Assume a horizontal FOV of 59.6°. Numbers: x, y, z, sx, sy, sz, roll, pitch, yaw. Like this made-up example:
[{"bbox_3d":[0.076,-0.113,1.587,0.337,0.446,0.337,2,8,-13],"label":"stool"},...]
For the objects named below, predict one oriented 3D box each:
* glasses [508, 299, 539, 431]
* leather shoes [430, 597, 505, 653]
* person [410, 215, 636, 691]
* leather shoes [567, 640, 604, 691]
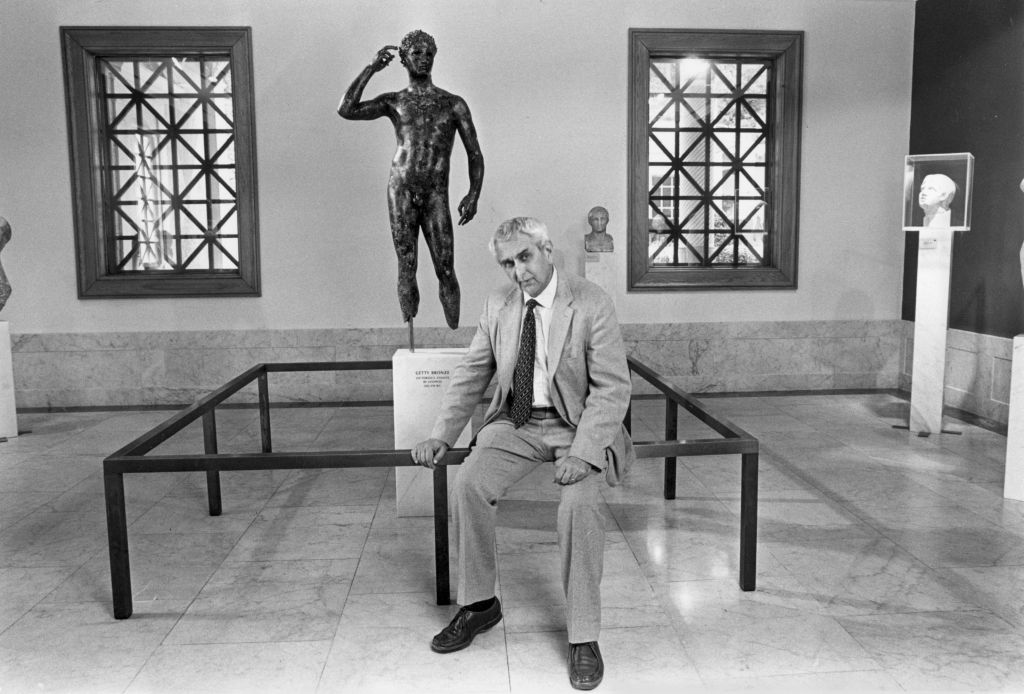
[{"bbox_3d":[0.070,0.113,5.185,0.134,0.663,0.046,-4,20,-31],"label":"glasses"},{"bbox_3d":[-0.248,1.546,5.016,0.447,0.191,0.180,-14,11,-39],"label":"leather shoes"},{"bbox_3d":[0.083,0.503,5.067,1.091,2.436,0.997,2,10,20],"label":"person"},{"bbox_3d":[0.385,1.687,4.736,0.143,0.091,0.257,-1,-1,-2],"label":"leather shoes"}]
